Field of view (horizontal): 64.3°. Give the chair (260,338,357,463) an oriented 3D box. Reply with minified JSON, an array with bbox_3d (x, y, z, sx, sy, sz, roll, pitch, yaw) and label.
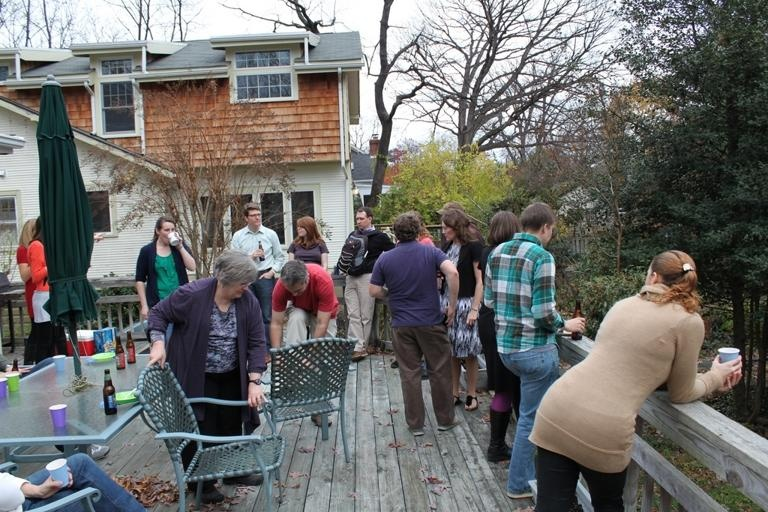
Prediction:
[{"bbox_3d":[-0.896,1.513,6.758,0.981,1.640,1.107,-2,14,-16],"label":"chair"}]

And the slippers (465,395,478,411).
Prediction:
[{"bbox_3d":[1.092,1.842,7.607,0.117,0.136,0.353,-3,-11,11],"label":"slippers"}]

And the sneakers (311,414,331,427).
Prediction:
[{"bbox_3d":[-0.761,1.986,7.381,0.151,0.126,0.273,-1,-5,-44],"label":"sneakers"}]

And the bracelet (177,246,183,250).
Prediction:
[{"bbox_3d":[-2.665,-0.091,8.010,0.033,0.039,0.038,4,-28,2],"label":"bracelet"}]

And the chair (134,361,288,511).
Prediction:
[{"bbox_3d":[-1.596,1.742,5.753,1.095,1.564,0.795,-2,13,1],"label":"chair"}]

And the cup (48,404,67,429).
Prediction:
[{"bbox_3d":[-2.882,1.425,5.405,0.174,0.193,0.170,-1,-6,0],"label":"cup"}]

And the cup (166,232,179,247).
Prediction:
[{"bbox_3d":[-2.734,-0.214,7.929,0.119,0.126,0.173,-7,-38,-27],"label":"cup"}]

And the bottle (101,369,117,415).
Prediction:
[{"bbox_3d":[-2.518,1.224,5.583,0.111,0.397,0.263,-8,14,-24],"label":"bottle"}]

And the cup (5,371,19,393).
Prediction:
[{"bbox_3d":[-3.652,1.253,6.031,0.153,0.179,0.166,0,-3,0],"label":"cup"}]

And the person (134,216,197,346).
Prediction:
[{"bbox_3d":[-2.941,0.502,8.251,0.674,2.114,0.505,-10,27,-33],"label":"person"}]

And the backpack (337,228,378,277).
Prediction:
[{"bbox_3d":[-0.358,-0.037,9.158,0.447,0.692,0.670,19,13,40],"label":"backpack"}]

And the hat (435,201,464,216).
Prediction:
[{"bbox_3d":[0.827,-0.578,7.378,0.262,0.149,0.191,4,-1,-5],"label":"hat"}]

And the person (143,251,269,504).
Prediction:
[{"bbox_3d":[-1.747,1.151,6.074,1.239,2.415,1.115,-2,14,-32],"label":"person"}]

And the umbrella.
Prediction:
[{"bbox_3d":[-3.388,-0.527,6.408,0.539,2.629,0.799,-9,15,-27],"label":"umbrella"}]

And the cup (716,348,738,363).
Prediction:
[{"bbox_3d":[2.735,0.786,4.873,0.141,0.125,0.153,-1,-2,0],"label":"cup"}]
